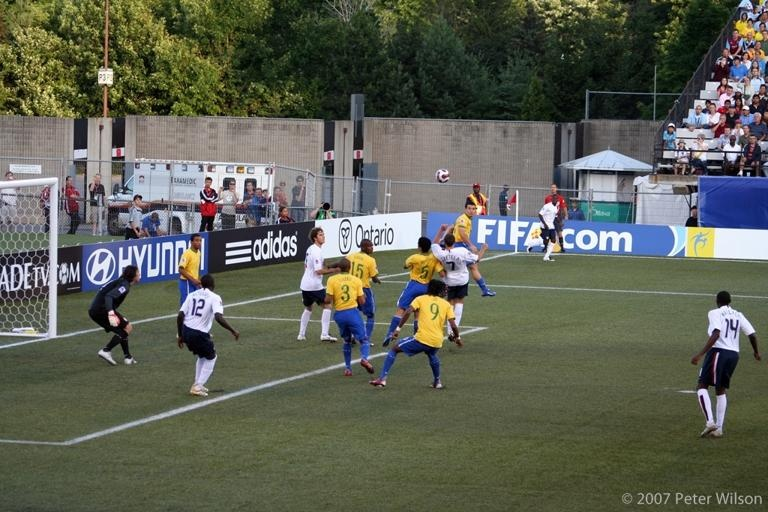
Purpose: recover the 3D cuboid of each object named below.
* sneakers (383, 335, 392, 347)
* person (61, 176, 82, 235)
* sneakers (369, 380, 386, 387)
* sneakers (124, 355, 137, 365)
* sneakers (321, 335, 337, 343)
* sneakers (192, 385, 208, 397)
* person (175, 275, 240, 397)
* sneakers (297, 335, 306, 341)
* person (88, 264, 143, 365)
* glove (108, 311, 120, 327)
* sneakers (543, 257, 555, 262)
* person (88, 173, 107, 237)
[{"bbox_3d":[0.035,2.152,31.202,0.158,0.439,0.175,27,51,3],"label":"sneakers"},{"bbox_3d":[-13.008,-2.107,51.231,0.657,2.471,1.416,-2,6,-14],"label":"person"},{"bbox_3d":[-0.155,3.132,30.368,0.417,0.160,0.146,3,2,4],"label":"sneakers"},{"bbox_3d":[-6.575,2.694,31.943,0.146,0.124,0.317,2,2,40],"label":"sneakers"},{"bbox_3d":[-1.470,2.277,34.010,0.513,0.168,0.235,3,20,7],"label":"sneakers"},{"bbox_3d":[-4.489,3.252,29.810,0.455,0.196,0.200,1,3,-22],"label":"sneakers"},{"bbox_3d":[-4.368,1.905,29.796,1.171,2.918,1.146,-2,6,-12],"label":"person"},{"bbox_3d":[-2.301,2.251,34.090,0.123,0.159,0.178,0,-6,9],"label":"sneakers"},{"bbox_3d":[-6.993,1.509,31.883,1.209,2.539,1.408,-2,6,-15],"label":"person"},{"bbox_3d":[-6.869,1.576,31.273,0.313,0.350,0.110,0,15,0],"label":"glove"},{"bbox_3d":[6.401,0.107,47.514,0.543,0.219,0.170,-1,9,-21],"label":"sneakers"},{"bbox_3d":[-11.988,-2.132,51.385,0.815,2.449,0.718,0,2,-17],"label":"person"}]
